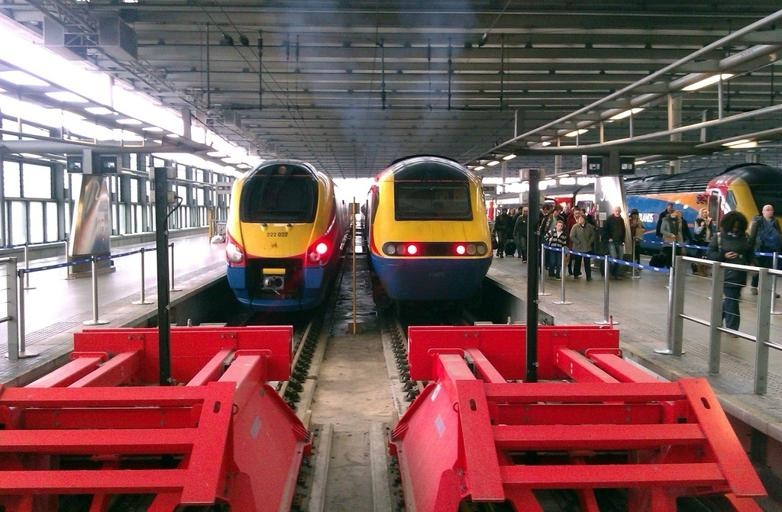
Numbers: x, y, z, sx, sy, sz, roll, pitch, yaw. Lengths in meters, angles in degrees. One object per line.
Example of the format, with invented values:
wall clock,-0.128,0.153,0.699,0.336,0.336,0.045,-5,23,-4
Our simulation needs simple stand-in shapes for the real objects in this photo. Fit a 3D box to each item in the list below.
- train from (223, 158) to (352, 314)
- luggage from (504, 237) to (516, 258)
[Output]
train,-2.314,-0.425,11.781,2.168,3.118,0.846,-9,8,-15
luggage,4.599,-0.367,22.005,0.616,0.571,1.087,-4,-10,5
